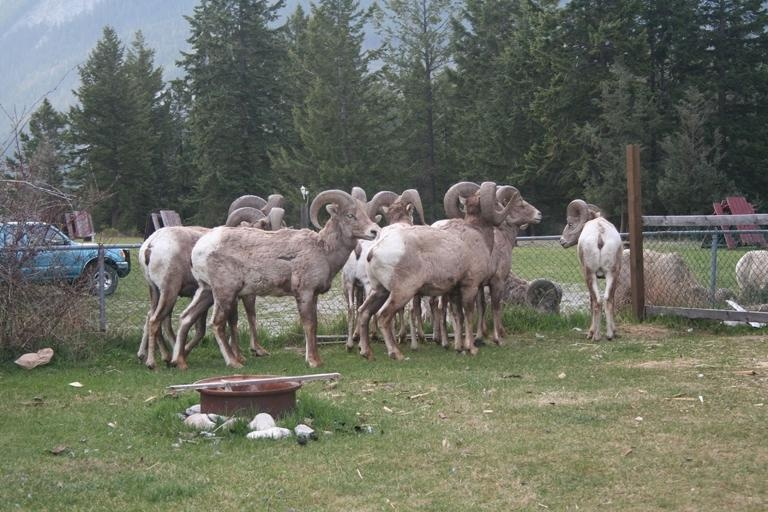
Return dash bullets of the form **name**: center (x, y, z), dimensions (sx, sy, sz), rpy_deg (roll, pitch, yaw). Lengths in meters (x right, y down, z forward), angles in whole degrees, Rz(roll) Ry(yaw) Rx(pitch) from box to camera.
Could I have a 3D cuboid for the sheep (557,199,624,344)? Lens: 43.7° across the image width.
- **sheep**: center (5.888, 0.361, 26.743), dimensions (1.193, 3.998, 1.834), rpy_deg (-1, -4, 0)
